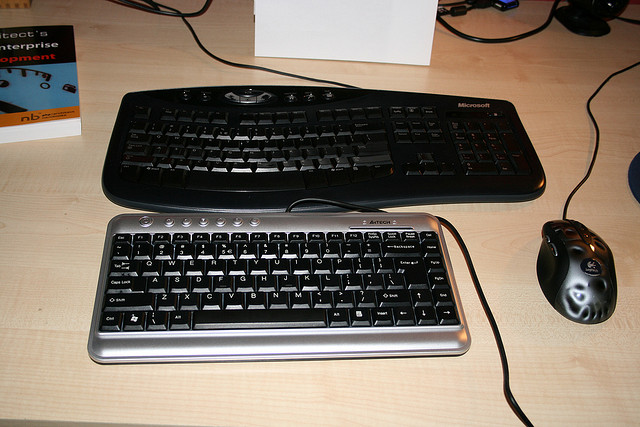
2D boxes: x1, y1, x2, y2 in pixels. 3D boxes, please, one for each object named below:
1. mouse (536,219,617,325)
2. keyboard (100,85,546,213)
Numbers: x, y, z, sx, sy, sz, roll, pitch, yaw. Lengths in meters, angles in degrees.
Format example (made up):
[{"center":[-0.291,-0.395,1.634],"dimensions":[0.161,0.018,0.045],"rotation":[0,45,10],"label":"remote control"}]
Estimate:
[{"center":[0.360,0.089,0.726],"dimensions":[0.120,0.049,0.140],"rotation":[4,57,-1],"label":"mouse"},{"center":[0.008,-0.120,0.848],"dimensions":[0.720,0.057,0.286],"rotation":[-2,53,-6],"label":"keyboard"}]
